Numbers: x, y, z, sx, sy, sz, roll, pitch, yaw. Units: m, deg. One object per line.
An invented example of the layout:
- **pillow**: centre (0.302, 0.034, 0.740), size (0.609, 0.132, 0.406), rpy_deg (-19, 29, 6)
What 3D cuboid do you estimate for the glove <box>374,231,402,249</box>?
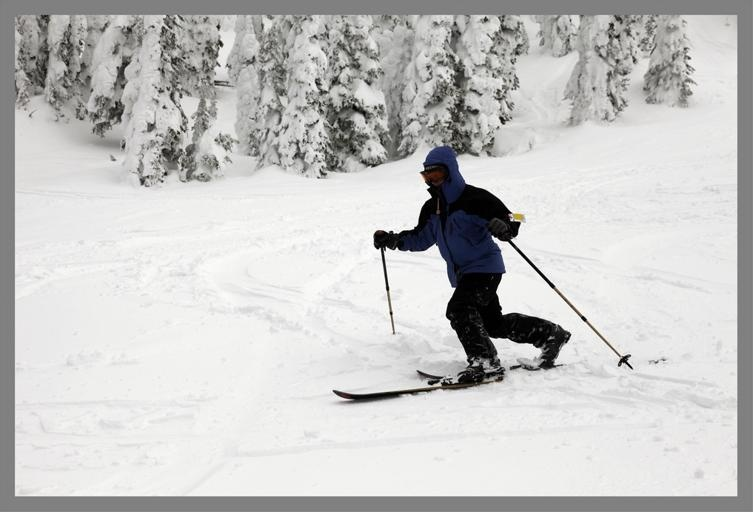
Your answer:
- **glove**: centre (0.177, -0.235, 10.070), size (0.331, 0.164, 0.255), rpy_deg (11, 3, 24)
